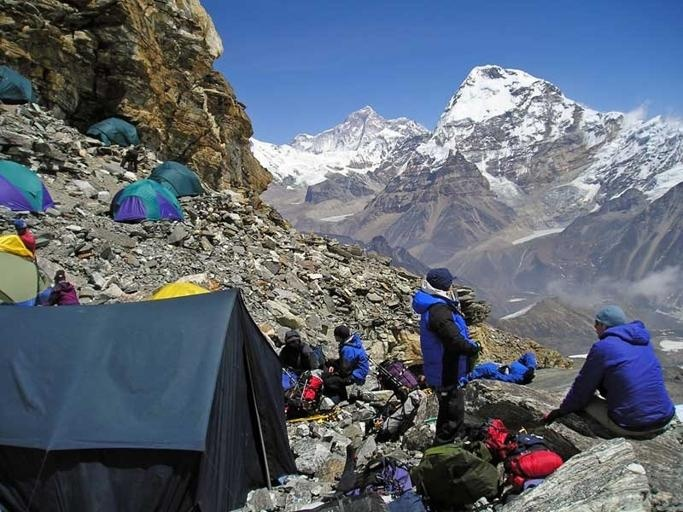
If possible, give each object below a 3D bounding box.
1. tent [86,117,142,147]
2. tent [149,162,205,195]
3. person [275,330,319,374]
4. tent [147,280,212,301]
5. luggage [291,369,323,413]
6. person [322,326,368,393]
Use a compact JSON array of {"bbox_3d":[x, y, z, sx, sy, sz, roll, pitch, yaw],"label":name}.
[{"bbox_3d":[-10.557,-5.762,26.776,1.844,0.829,2.212,18,13,9],"label":"tent"},{"bbox_3d":[-6.786,-3.245,24.000,1.539,1.378,2.563,4,5,40],"label":"tent"},{"bbox_3d":[-1.115,2.593,15.527,0.886,1.140,1.481,-12,13,-29],"label":"person"},{"bbox_3d":[-4.432,0.952,15.875,1.182,0.276,1.177,-2,3,-45],"label":"tent"},{"bbox_3d":[-0.803,3.394,14.062,0.676,0.817,0.388,20,11,42],"label":"luggage"},{"bbox_3d":[0.042,2.712,14.887,1.303,1.611,0.909,5,6,-33],"label":"person"}]
